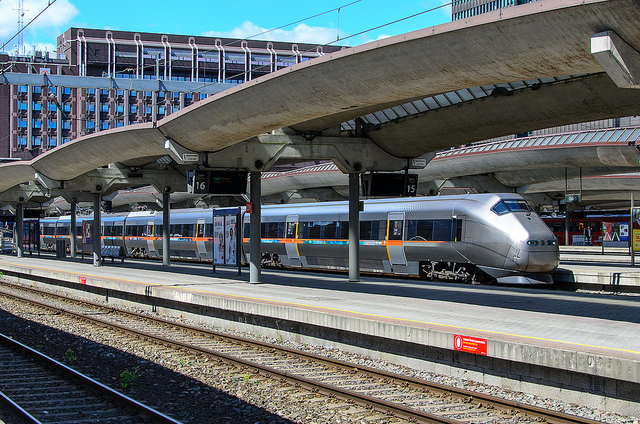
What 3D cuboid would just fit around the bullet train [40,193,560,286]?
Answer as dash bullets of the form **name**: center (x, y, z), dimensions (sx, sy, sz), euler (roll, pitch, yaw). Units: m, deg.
- **bullet train**: center (-5.051, 1.181, 33.434), dimensions (39.148, 2.977, 3.192), euler (-1, 5, 41)
